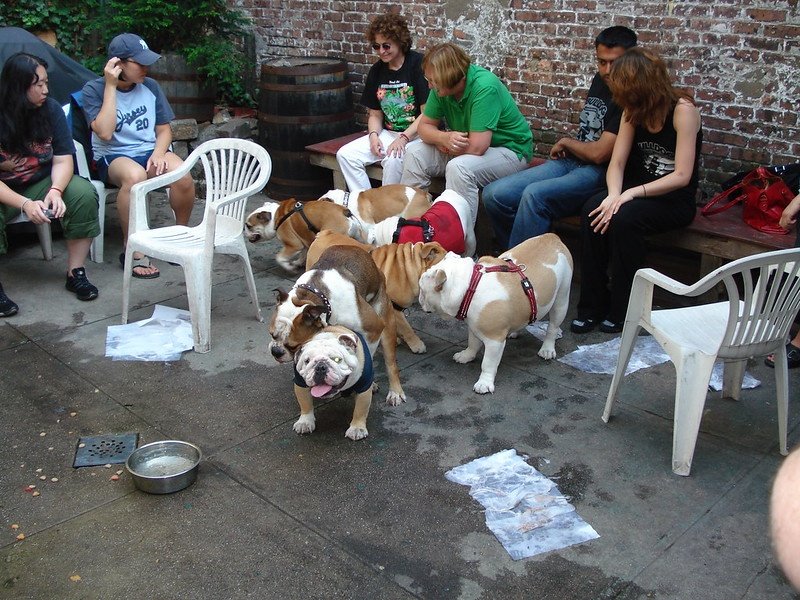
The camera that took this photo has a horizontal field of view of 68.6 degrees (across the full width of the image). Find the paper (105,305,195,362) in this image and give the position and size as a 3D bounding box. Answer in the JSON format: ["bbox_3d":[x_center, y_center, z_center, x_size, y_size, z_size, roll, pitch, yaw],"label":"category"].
[{"bbox_3d":[-1.878,0.249,4.309,0.446,0.086,0.406,-1,25,-13],"label":"paper"}]

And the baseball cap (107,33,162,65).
[{"bbox_3d":[-2.308,-2.160,5.146,0.419,0.211,0.268,5,39,-1],"label":"baseball cap"}]

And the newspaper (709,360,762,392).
[{"bbox_3d":[2.105,0.485,3.667,0.236,0.064,0.239,4,17,18],"label":"newspaper"}]

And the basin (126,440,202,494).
[{"bbox_3d":[-1.252,0.882,3.107,0.367,0.133,0.312,19,31,29],"label":"basin"}]

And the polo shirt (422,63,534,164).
[{"bbox_3d":[0.746,-1.745,5.404,0.731,0.751,0.870,-15,32,-23],"label":"polo shirt"}]

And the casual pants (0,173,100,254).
[{"bbox_3d":[-2.905,-0.808,4.998,0.709,0.536,0.713,20,28,25],"label":"casual pants"}]

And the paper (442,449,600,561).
[{"bbox_3d":[0.596,1.011,2.931,0.466,0.037,0.700,-11,29,-25],"label":"paper"}]

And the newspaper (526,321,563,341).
[{"bbox_3d":[1.078,0.235,4.540,0.167,0.048,0.171,2,27,3],"label":"newspaper"}]

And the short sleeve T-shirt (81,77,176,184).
[{"bbox_3d":[-2.520,-1.528,5.370,0.922,0.908,0.507,-17,30,-37],"label":"short sleeve T-shirt"}]

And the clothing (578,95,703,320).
[{"bbox_3d":[1.810,-0.797,4.466,1.056,1.921,0.703,-17,23,-31],"label":"clothing"}]

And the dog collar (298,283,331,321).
[{"bbox_3d":[-0.481,0.007,3.268,0.053,0.208,0.170,-21,46,-29],"label":"dog collar"}]

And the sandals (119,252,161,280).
[{"bbox_3d":[-2.383,-0.333,5.340,0.174,0.129,0.443,-21,31,-39],"label":"sandals"}]
